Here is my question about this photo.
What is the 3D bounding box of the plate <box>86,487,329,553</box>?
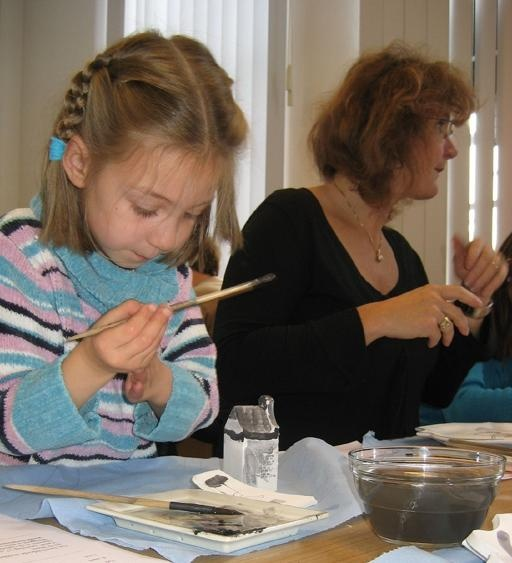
[{"bbox_3d":[-0.050,0.224,0.605,0.185,0.022,0.130,-2,-5,35],"label":"plate"}]

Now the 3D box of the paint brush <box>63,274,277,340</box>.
[{"bbox_3d":[-0.142,0.043,1.076,0.392,0.020,0.039,-16,-11,-21],"label":"paint brush"}]

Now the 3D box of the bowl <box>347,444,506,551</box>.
[{"bbox_3d":[0.162,0.201,0.605,0.137,0.074,0.121,5,-5,-36],"label":"bowl"}]

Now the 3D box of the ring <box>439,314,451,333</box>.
[{"bbox_3d":[0.400,0.088,1.340,0.028,0.032,0.017,-30,51,-15],"label":"ring"}]
